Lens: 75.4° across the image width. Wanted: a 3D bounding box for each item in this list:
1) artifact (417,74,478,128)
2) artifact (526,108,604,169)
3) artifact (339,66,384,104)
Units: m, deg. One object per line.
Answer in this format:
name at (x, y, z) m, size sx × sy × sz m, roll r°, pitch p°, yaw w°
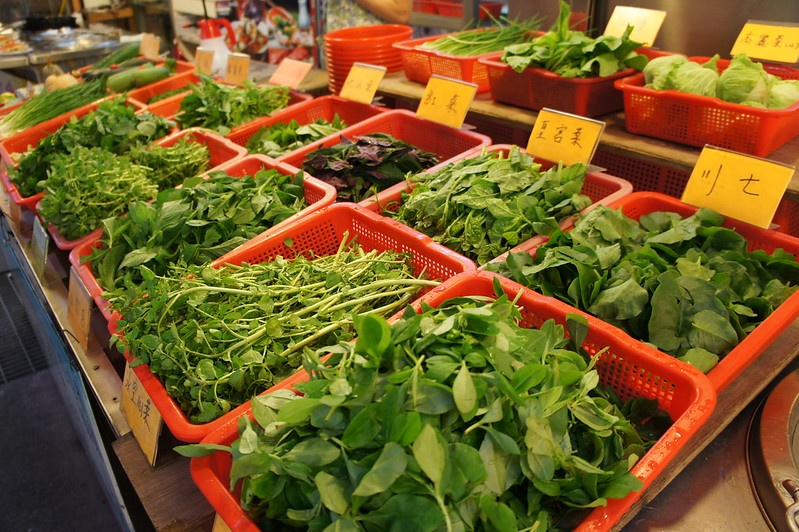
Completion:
artifact at (0.227, -0.730, 2.348) m, size 0.278 × 0.250 × 0.063 m, roll 31°, pitch 24°, yaw 27°
artifact at (0.655, -0.462, 2.022) m, size 0.336 × 0.228 × 0.081 m, roll 30°, pitch 23°, yaw 37°
artifact at (-0.176, -0.926, 2.695) m, size 0.227 × 0.216 × 0.054 m, roll 21°, pitch 2°, yaw 40°
